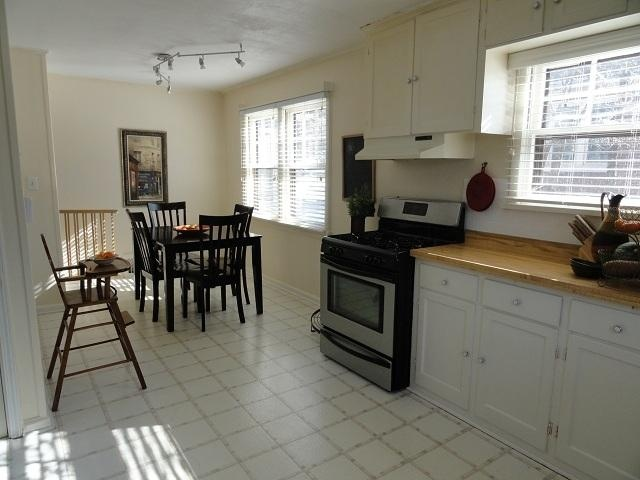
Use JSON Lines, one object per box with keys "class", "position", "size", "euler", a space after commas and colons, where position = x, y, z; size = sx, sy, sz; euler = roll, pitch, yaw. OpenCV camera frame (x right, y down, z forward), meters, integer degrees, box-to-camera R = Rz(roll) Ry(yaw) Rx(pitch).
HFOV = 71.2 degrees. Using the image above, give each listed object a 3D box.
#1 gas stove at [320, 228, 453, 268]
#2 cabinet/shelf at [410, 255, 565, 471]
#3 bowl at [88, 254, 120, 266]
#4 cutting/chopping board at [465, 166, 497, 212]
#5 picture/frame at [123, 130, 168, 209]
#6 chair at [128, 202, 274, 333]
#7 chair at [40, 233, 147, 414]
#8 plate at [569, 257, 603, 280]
{"class": "gas stove", "position": [0.426, 0.096, 3.636], "size": [0.596, 0.253, 0.802], "euler": [-12, 17, -39]}
{"class": "cabinet/shelf", "position": [1.104, 0.796, 2.852], "size": [0.585, 1.059, 1.090], "euler": [-5, 11, -36]}
{"class": "bowl", "position": [-1.646, 0.142, 3.377], "size": [0.209, 0.082, 0.238], "euler": [-7, 14, -22]}
{"class": "cutting/chopping board", "position": [1.233, -0.400, 3.432], "size": [0.091, 0.376, 0.242], "euler": [-13, 17, -37]}
{"class": "picture/frame", "position": [-2.434, -1.005, 6.184], "size": [0.641, 1.011, 0.184], "euler": [-8, 15, -24]}
{"class": "chair", "position": [-1.331, 0.177, 4.878], "size": [1.229, 0.996, 1.326], "euler": [-5, 7, -37]}
{"class": "chair", "position": [-1.986, 0.756, 3.889], "size": [0.932, 1.544, 0.828], "euler": [-4, 20, -25]}
{"class": "plate", "position": [1.587, 0.168, 2.620], "size": [0.161, 0.097, 0.179], "euler": [-11, 16, -34]}
